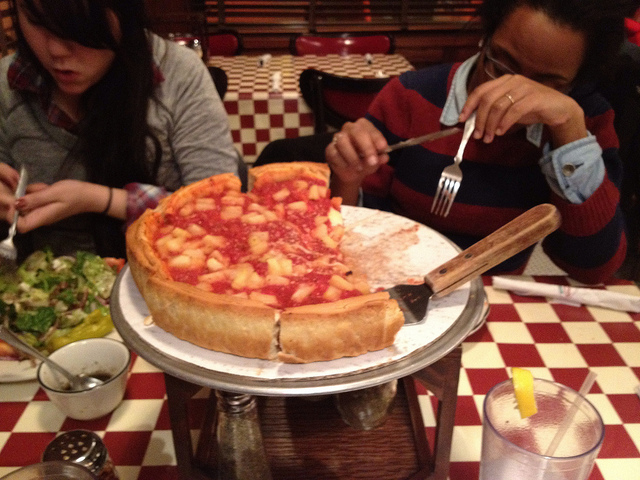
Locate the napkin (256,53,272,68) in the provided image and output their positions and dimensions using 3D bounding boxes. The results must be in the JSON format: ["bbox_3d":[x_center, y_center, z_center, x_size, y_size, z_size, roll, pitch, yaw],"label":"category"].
[{"bbox_3d":[-0.436,-1.428,4.066,0.112,0.050,0.175,1,36,22],"label":"napkin"}]

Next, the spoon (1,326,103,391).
[{"bbox_3d":[-0.719,0.324,1.357,0.035,0.259,0.052,-32,29,20],"label":"spoon"}]

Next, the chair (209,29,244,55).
[{"bbox_3d":[-0.903,-1.911,4.925,0.330,0.262,0.357,-4,20,-8],"label":"chair"}]

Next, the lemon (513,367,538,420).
[{"bbox_3d":[0.429,0.323,1.076,0.056,0.029,0.096,-7,83,-1],"label":"lemon"}]

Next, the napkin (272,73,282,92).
[{"bbox_3d":[-0.278,-1.020,3.278,0.045,0.063,0.154,-1,59,-6],"label":"napkin"}]

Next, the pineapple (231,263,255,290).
[{"bbox_3d":[-0.188,0.086,1.274,0.042,0.033,0.099,12,47,7],"label":"pineapple"}]

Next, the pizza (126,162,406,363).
[{"bbox_3d":[-0.167,0.006,1.445,0.678,0.141,0.802,0,33,-4],"label":"pizza"}]

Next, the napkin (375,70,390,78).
[{"bbox_3d":[0.438,-1.188,3.630,0.115,0.025,0.098,6,60,18],"label":"napkin"}]
